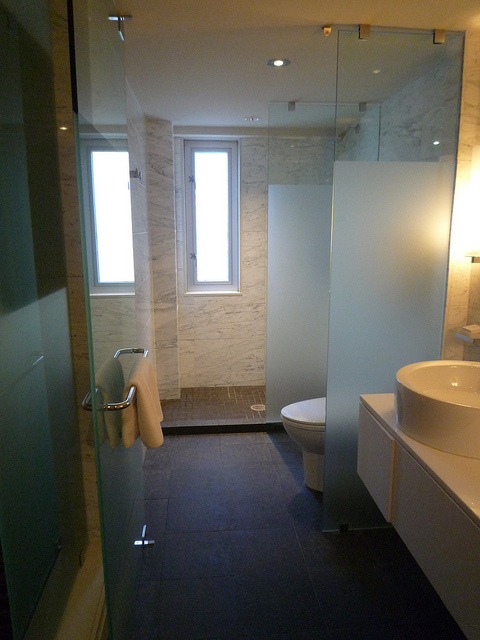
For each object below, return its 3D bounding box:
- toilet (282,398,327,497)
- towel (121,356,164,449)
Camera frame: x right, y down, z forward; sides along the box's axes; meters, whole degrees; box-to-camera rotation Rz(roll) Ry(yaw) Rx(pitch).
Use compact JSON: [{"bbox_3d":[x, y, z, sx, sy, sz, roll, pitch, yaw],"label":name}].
[{"bbox_3d":[0.330,0.675,2.617,0.220,0.433,0.569,1,9,9],"label":"toilet"},{"bbox_3d":[-0.323,0.292,1.675,0.126,0.272,0.464,-2,10,-10],"label":"towel"}]
